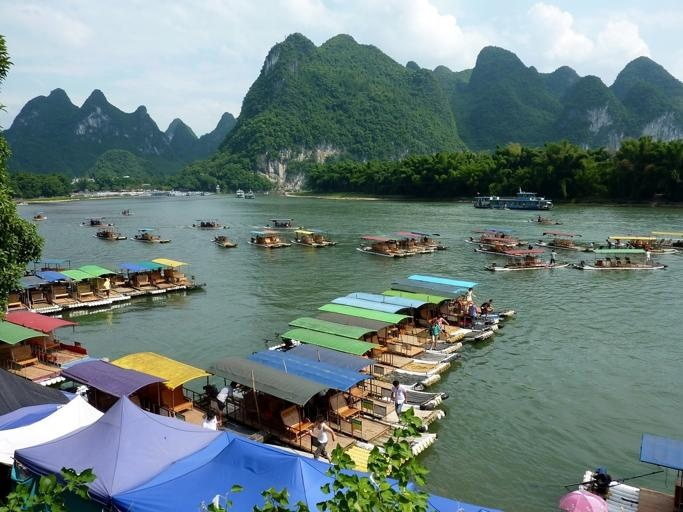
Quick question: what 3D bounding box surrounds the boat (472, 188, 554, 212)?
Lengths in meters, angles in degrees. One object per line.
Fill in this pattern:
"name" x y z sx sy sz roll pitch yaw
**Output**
"boat" 47.770 -15.150 150.555 8.749 5.652 25.794 -5 4 -17
